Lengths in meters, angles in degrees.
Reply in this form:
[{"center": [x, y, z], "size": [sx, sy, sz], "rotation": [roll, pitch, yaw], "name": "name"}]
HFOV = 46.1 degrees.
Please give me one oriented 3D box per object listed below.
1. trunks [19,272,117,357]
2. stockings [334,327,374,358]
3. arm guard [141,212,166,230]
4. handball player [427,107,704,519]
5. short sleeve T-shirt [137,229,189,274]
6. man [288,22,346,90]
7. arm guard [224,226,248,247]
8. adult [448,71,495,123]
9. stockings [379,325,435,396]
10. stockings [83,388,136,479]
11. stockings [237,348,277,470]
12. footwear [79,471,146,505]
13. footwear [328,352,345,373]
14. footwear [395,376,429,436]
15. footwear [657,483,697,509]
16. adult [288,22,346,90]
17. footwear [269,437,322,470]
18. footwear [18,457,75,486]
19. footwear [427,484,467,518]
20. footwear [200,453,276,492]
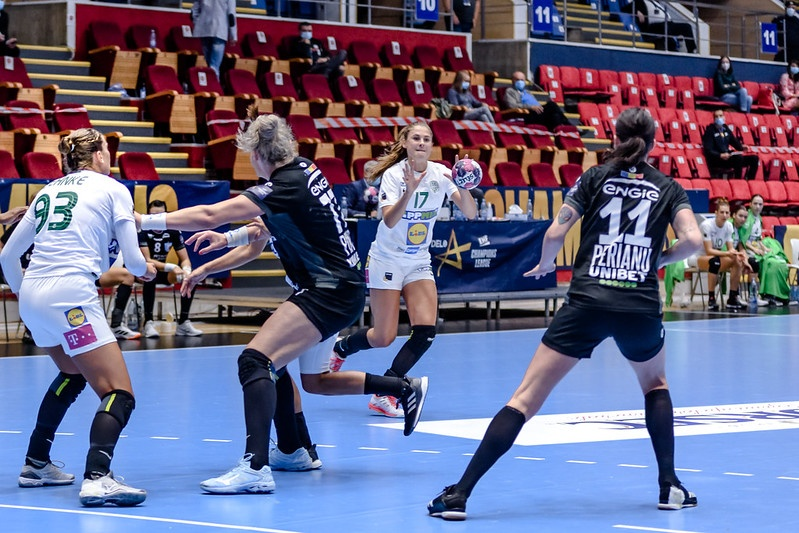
[{"center": [-2.200, 0.309, 6.161], "size": [0.665, 0.525, 0.268], "rotation": [3, 7, 19], "name": "trunks"}, {"center": [-0.433, 0.704, 8.625], "size": [0.608, 0.146, 0.193], "rotation": [-16, -5, 43], "name": "stockings"}, {"center": [-1.653, -0.303, 6.362], "size": [0.183, 0.105, 0.076], "rotation": [-2, -5, 13], "name": "arm guard"}, {"center": [1.184, 0.255, 5.957], "size": [1.395, 2.497, 0.504], "rotation": [0, 6, -4], "name": "handball player"}, {"center": [-3.344, -0.377, 13.225], "size": [0.658, 0.937, 0.520], "rotation": [-2, 16, -28], "name": "short sleeve T-shirt"}, {"center": [-1.805, -4.599, 20.412], "size": [0.996, 1.385, 1.105], "rotation": [-3, 7, -28], "name": "man"}, {"center": [-1.158, -0.218, 6.650], "size": [0.130, 0.133, 0.162], "rotation": [-10, 6, -7], "name": "arm guard"}, {"center": [1.567, -3.493, 20.610], "size": [1.041, 1.555, 0.800], "rotation": [3, 7, 35], "name": "adult"}, {"center": [0.097, 0.785, 8.410], "size": [0.263, 0.733, 0.242], "rotation": [24, 24, 3], "name": "stockings"}, {"center": [-1.888, 1.070, 6.052], "size": [0.227, 0.534, 0.335], "rotation": [2, 6, 17], "name": "stockings"}, {"center": [-0.937, 0.928, 6.179], "size": [0.242, 0.776, 0.238], "rotation": [-1, 6, -9], "name": "stockings"}, {"center": [-1.818, 1.407, 5.968], "size": [0.438, 0.201, 0.169], "rotation": [0, -18, 10], "name": "footwear"}, {"center": [-0.591, 0.908, 8.584], "size": [0.166, 0.208, 0.212], "rotation": [4, -22, -11], "name": "footwear"}, {"center": [0.068, 1.057, 7.109], "size": [0.228, 0.503, 0.174], "rotation": [11, -35, 4], "name": "footwear"}, {"center": [1.748, 1.448, 5.919], "size": [0.248, 0.114, 0.115], "rotation": [0, 0, -42], "name": "footwear"}, {"center": [-1.807, -4.599, 20.416], "size": [0.993, 1.385, 1.117], "rotation": [-3, 7, -28], "name": "adult"}, {"center": [-0.780, 1.378, 6.829], "size": [0.418, 0.179, 0.150], "rotation": [3, 1, -2], "name": "footwear"}, {"center": [-2.417, 1.399, 6.455], "size": [0.389, 0.174, 0.168], "rotation": [3, -1, -21], "name": "footwear"}, {"center": [0.295, 1.461, 5.808], "size": [0.123, 0.142, 0.303], "rotation": [3, -3, -14], "name": "footwear"}, {"center": [-1.022, 1.358, 6.179], "size": [0.528, 0.247, 0.182], "rotation": [-3, 1, 16], "name": "footwear"}]
